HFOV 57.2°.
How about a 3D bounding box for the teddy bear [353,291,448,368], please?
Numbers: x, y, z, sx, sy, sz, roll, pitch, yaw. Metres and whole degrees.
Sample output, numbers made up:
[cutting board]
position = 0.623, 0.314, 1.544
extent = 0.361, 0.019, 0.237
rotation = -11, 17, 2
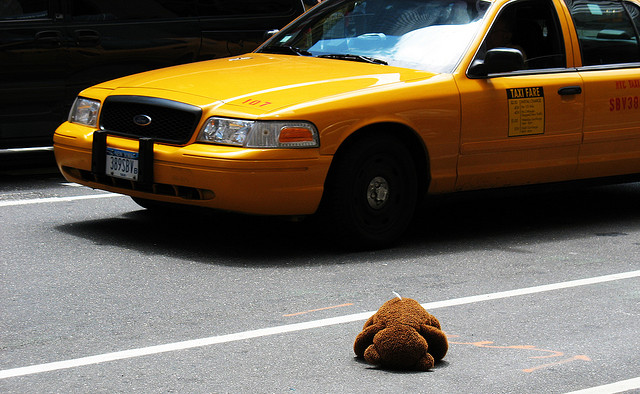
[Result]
[teddy bear]
position = 0.471, 0.798, 3.398
extent = 0.410, 0.365, 0.378
rotation = 9, 22, 35

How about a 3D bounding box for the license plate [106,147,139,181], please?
[license plate]
position = -1.775, -0.301, 5.313
extent = 0.495, 0.169, 0.008
rotation = 9, 3, 38

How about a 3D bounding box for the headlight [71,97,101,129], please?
[headlight]
position = -2.326, -0.841, 5.841
extent = 0.244, 0.291, 0.549
rotation = -16, 19, -29
